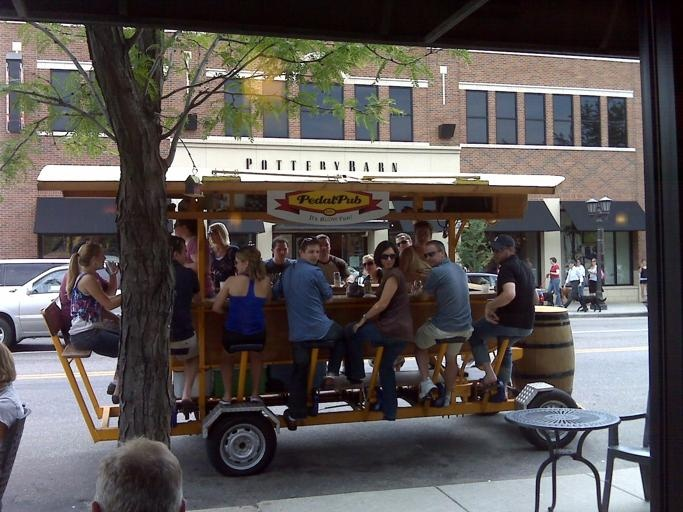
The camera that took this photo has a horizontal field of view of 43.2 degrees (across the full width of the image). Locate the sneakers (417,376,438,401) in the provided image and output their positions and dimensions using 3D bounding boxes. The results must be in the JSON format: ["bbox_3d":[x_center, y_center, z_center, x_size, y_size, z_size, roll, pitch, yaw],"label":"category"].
[{"bbox_3d":[1.007,1.579,10.164,0.212,0.264,0.259,-1,5,5],"label":"sneakers"}]

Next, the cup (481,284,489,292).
[{"bbox_3d":[1.915,0.451,11.599,0.111,0.132,0.129,1,3,14],"label":"cup"}]

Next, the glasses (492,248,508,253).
[{"bbox_3d":[1.930,-0.070,10.523,0.099,0.050,0.075,-7,11,-4],"label":"glasses"}]

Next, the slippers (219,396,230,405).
[{"bbox_3d":[-1.300,1.606,9.546,0.126,0.064,0.249,-2,5,-9],"label":"slippers"}]

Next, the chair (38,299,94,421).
[{"bbox_3d":[-3.699,1.465,11.558,0.648,1.466,1.582,-10,6,-19],"label":"chair"}]

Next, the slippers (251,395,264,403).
[{"bbox_3d":[-0.969,1.612,9.695,0.141,0.088,0.224,-2,5,-5],"label":"slippers"}]

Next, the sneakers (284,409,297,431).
[{"bbox_3d":[-0.593,1.853,9.690,0.106,0.256,0.121,-3,-6,29],"label":"sneakers"}]

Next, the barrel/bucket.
[{"bbox_3d":[2.605,1.356,11.458,1.008,1.423,1.003,-1,-4,0],"label":"barrel/bucket"}]
